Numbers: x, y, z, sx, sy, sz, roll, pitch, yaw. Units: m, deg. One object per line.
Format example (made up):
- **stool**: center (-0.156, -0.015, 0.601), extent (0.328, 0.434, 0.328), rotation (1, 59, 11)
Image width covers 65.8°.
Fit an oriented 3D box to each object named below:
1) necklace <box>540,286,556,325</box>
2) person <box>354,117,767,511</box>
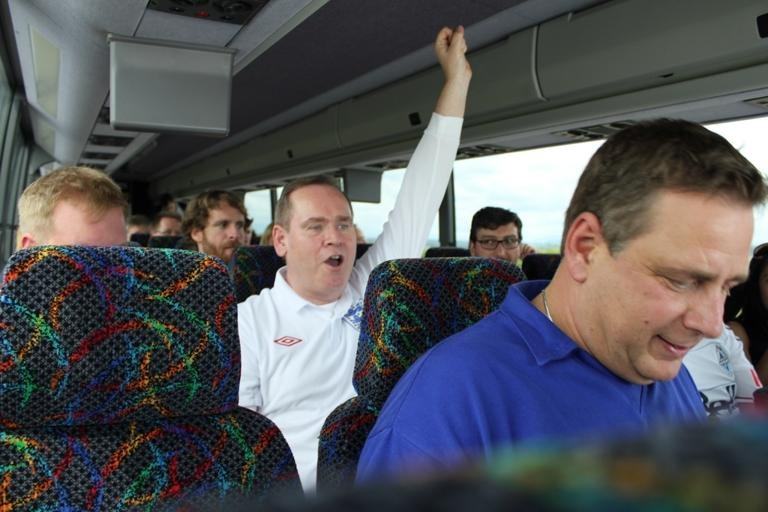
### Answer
- **necklace**: center (0.454, 0.140, 1.683), extent (0.018, 0.071, 0.058), rotation (-12, -2, 34)
- **person**: center (0.458, 0.115, 1.525), extent (0.989, 0.882, 0.422), rotation (-6, 6, -4)
